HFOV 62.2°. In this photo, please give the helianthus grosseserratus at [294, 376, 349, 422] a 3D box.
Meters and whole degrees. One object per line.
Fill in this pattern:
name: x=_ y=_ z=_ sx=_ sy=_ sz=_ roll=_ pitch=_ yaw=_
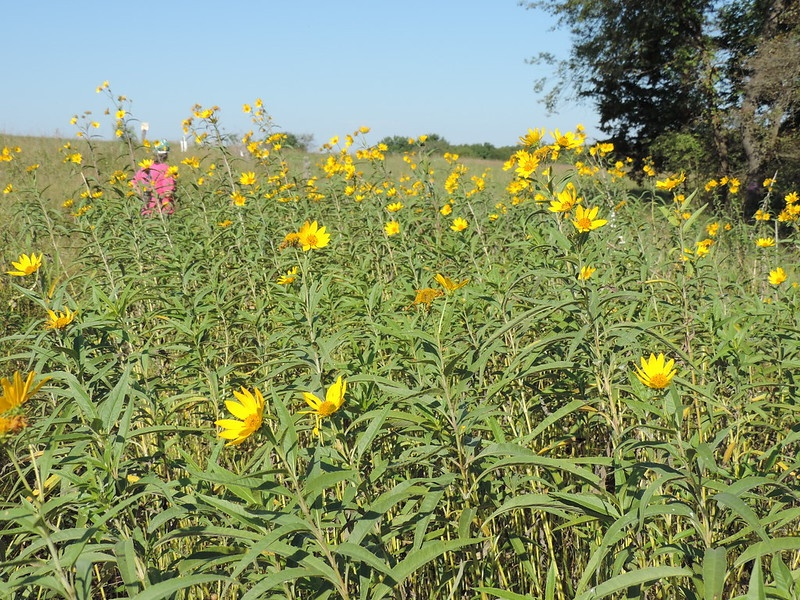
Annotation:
helianthus grosseserratus: x=-0.247 y=0.355 z=2.191 sx=0.161 sy=0.187 sz=0.070 roll=15 pitch=24 yaw=-25
